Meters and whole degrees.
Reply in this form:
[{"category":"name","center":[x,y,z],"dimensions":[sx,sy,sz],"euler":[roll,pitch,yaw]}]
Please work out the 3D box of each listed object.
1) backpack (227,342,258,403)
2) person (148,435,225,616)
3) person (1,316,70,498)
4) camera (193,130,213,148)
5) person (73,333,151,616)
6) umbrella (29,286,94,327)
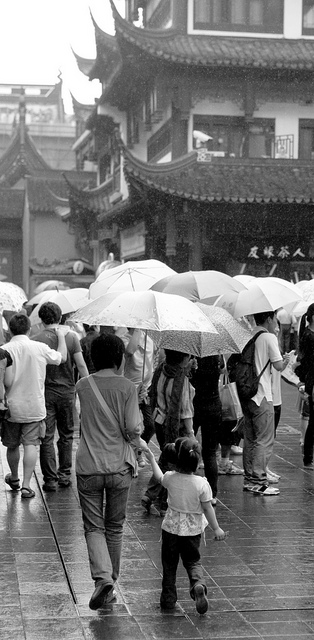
[{"category":"backpack","center":[0.698,0.400,8.693],"dimensions":[0.163,0.490,0.327],"euler":[3,-15,-21]},{"category":"person","center":[0.152,1.087,5.963],"dimensions":[0.498,0.920,0.325],"euler":[3,4,31]},{"category":"person","center":[-0.950,0.656,8.473],"dimensions":[0.489,1.369,0.502],"euler":[0,4,-8]},{"category":"camera","center":[0.812,-3.223,19.796],"dimensions":[0.178,0.222,0.717],"euler":[-9,15,-10]},{"category":"person","center":[-0.224,0.785,5.945],"dimensions":[0.385,1.383,0.516],"euler":[0,4,-9]},{"category":"umbrella","center":[-0.853,-0.222,10.870],"dimensions":[0.506,0.199,0.545],"euler":[-30,5,15]}]
